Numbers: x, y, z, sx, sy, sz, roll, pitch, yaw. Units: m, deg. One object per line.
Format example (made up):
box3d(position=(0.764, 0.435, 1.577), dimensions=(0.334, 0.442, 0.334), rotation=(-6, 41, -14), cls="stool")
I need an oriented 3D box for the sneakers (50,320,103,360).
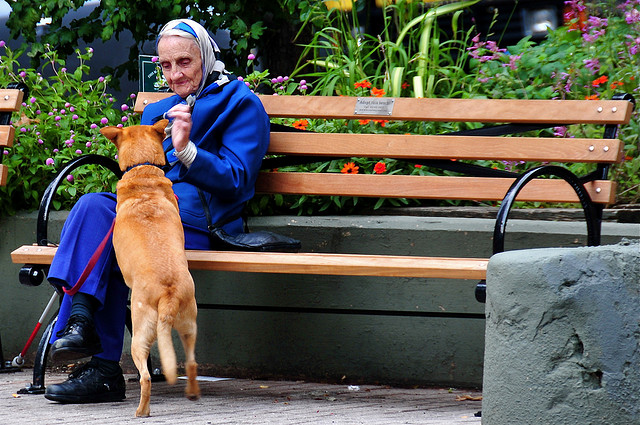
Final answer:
box3d(position=(-1.335, 0.712, 3.801), dimensions=(0.156, 0.169, 0.339), rotation=(-8, -10, 17), cls="sneakers")
